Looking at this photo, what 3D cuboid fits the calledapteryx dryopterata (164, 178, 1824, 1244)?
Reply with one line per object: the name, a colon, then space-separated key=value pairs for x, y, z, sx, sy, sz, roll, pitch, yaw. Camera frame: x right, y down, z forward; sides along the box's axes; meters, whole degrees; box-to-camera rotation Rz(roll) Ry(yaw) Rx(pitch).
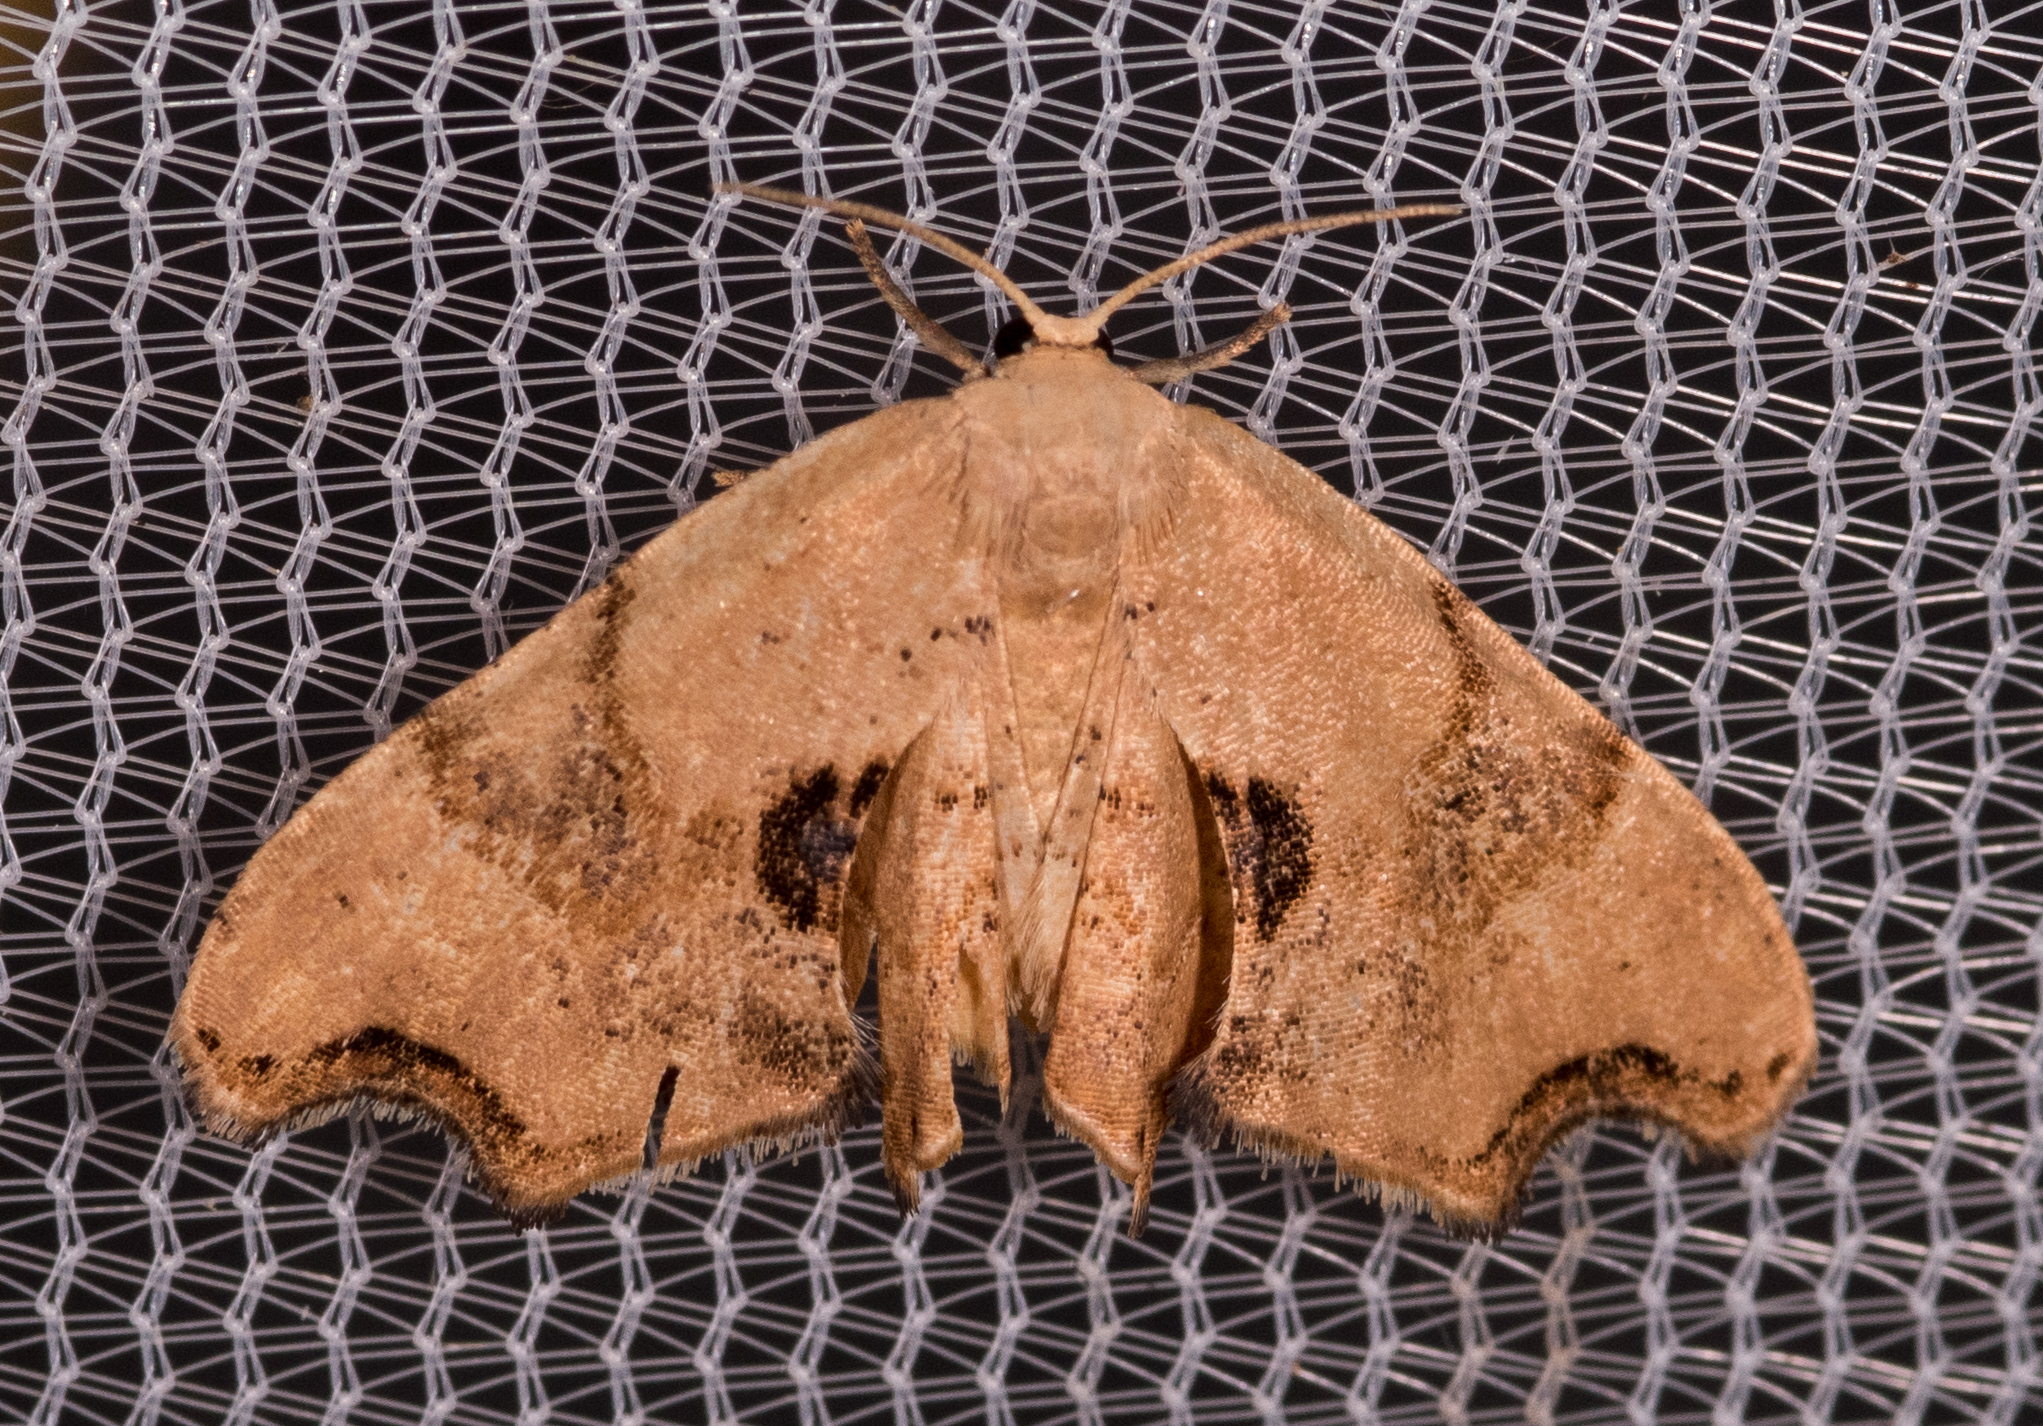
calledapteryx dryopterata: x=-0.006 y=0.118 z=4.494 sx=1.834 sy=0.284 sz=0.924 roll=1 pitch=77 yaw=-1
